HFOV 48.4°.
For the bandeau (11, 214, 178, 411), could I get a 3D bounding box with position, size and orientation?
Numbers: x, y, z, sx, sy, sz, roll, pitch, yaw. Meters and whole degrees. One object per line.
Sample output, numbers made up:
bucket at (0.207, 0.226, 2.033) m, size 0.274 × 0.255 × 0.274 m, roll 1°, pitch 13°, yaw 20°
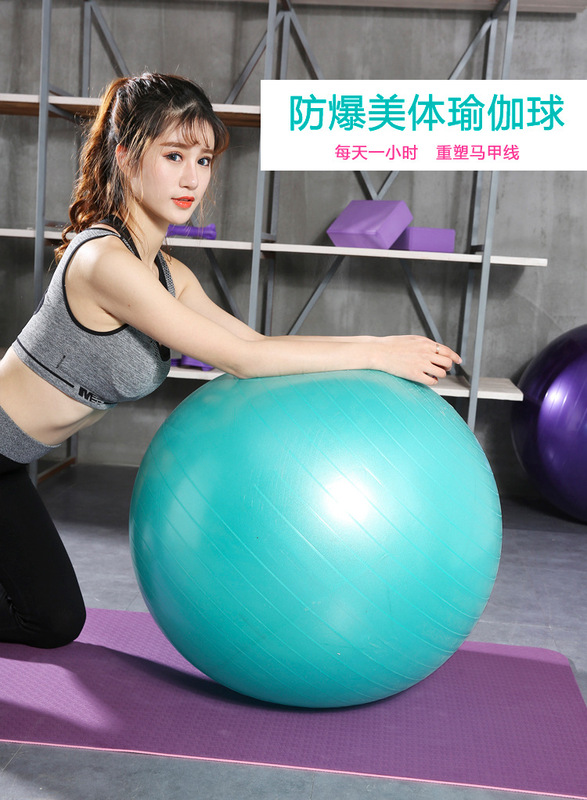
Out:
bandeau at (-0.304, -0.153, 1.157) m, size 0.250 × 0.294 × 0.218 m, roll 27°, pitch 26°, yaw -5°
